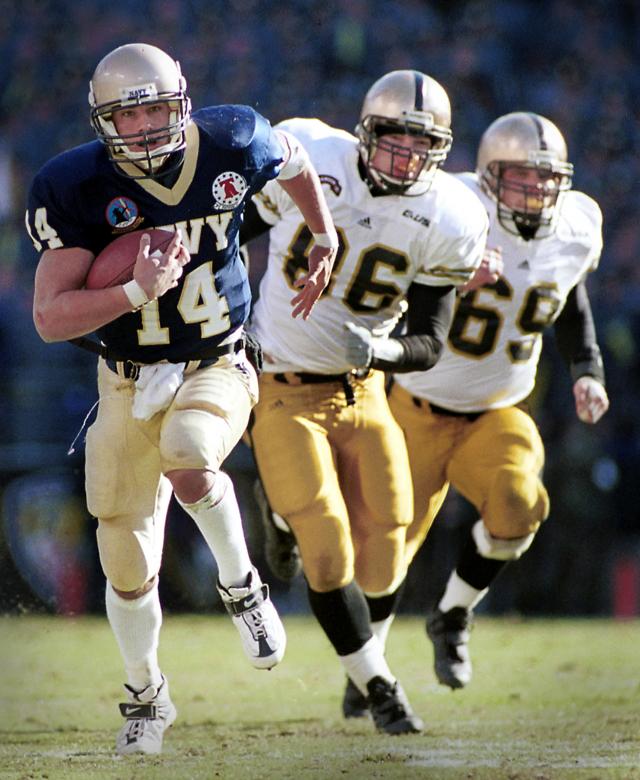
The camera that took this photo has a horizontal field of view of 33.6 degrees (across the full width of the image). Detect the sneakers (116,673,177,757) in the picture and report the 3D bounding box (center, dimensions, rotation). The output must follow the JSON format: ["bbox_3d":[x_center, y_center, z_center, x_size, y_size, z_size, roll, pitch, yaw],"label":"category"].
[{"bbox_3d":[-0.461,0.868,2.784,0.091,0.105,0.247,-2,6,5],"label":"sneakers"}]

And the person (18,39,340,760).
[{"bbox_3d":[-0.315,-0.101,2.752,0.622,1.546,0.773,-3,21,12],"label":"person"}]

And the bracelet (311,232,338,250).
[{"bbox_3d":[0.012,-0.399,2.851,0.058,0.035,0.051,-1,18,4],"label":"bracelet"}]

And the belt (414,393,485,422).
[{"bbox_3d":[0.435,0.042,3.558,0.166,0.060,0.114,11,8,1],"label":"belt"}]

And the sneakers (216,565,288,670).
[{"bbox_3d":[-0.164,0.586,2.717,0.125,0.293,0.134,-28,-10,-5],"label":"sneakers"}]

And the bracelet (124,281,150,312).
[{"bbox_3d":[-0.418,-0.214,2.398,0.055,0.069,0.030,-6,21,2],"label":"bracelet"}]

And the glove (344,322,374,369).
[{"bbox_3d":[0.097,-0.118,2.777,0.099,0.100,0.041,-2,18,-11],"label":"glove"}]

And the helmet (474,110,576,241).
[{"bbox_3d":[0.679,-0.714,3.550,0.391,0.410,0.464,-2,12,-14],"label":"helmet"}]

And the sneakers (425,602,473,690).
[{"bbox_3d":[0.431,0.861,3.546,0.119,0.154,0.319,5,39,-12],"label":"sneakers"}]

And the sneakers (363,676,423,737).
[{"bbox_3d":[0.185,0.846,2.938,0.097,0.093,0.240,-19,27,-19],"label":"sneakers"}]

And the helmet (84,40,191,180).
[{"bbox_3d":[-0.430,-0.672,2.586,0.288,0.277,0.314,-9,43,-7],"label":"helmet"}]

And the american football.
[{"bbox_3d":[-0.445,-0.306,2.492,0.238,0.127,0.186,-8,18,-10],"label":"american football"}]

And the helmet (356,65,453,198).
[{"bbox_3d":[0.224,-0.749,3.096,0.339,0.333,0.390,3,27,-6],"label":"helmet"}]
